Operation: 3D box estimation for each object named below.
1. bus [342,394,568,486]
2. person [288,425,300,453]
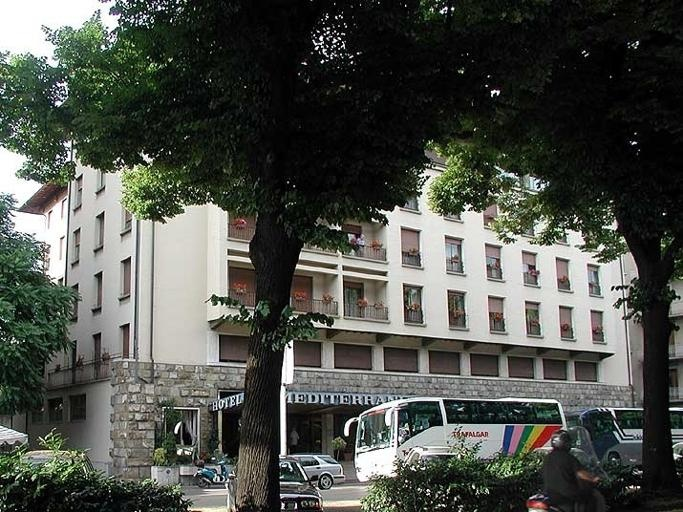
[{"bbox_3d":[4.917,7.453,28.827,10.836,3.191,3.533,14,-25,-38],"label":"bus"},{"bbox_3d":[-2.482,9.751,37.155,0.501,1.371,0.975,0,-18,-4],"label":"person"}]
